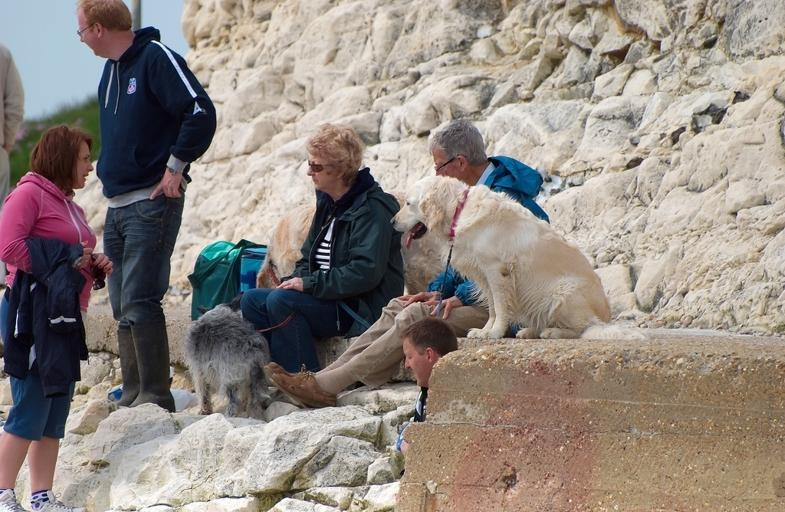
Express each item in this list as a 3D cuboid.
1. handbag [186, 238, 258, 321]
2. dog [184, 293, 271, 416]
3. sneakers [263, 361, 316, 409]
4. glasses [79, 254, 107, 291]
[{"bbox_3d":[-1.866,0.207,19.877,0.824,0.938,0.630,-2,4,-8],"label":"handbag"},{"bbox_3d":[-1.773,1.076,18.905,0.751,1.276,1.655,-3,1,-16],"label":"dog"},{"bbox_3d":[-0.977,1.260,18.054,0.660,0.290,0.286,38,8,-31],"label":"sneakers"},{"bbox_3d":[-2.952,0.156,17.877,0.220,0.337,0.131,4,15,-14],"label":"glasses"}]
